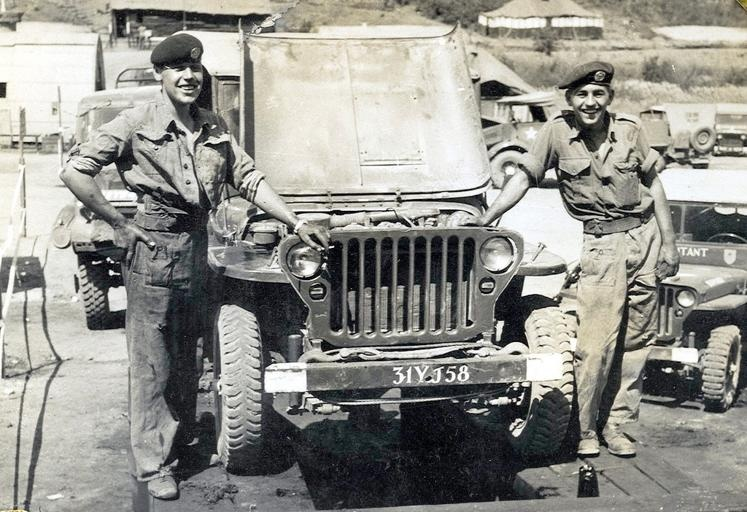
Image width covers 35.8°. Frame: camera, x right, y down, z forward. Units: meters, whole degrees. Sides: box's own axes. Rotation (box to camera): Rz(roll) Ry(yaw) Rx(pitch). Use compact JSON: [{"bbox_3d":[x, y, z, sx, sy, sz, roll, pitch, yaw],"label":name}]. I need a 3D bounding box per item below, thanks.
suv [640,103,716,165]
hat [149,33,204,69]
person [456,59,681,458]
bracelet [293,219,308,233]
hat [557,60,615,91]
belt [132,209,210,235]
[{"bbox_3d":[6.117,-2.398,23.009,1.755,1.136,1.179,11,15,37],"label":"suv"},{"bbox_3d":[-1.595,-1.662,9.378,0.328,0.171,0.305,3,23,39],"label":"hat"},{"bbox_3d":[2.013,0.048,10.029,1.131,3.414,0.392,-2,7,-12],"label":"person"},{"bbox_3d":[-0.602,-0.230,9.301,0.096,0.048,0.109,-20,-8,-29],"label":"bracelet"},{"bbox_3d":[1.761,-1.520,9.720,0.273,0.118,0.314,-12,12,-34],"label":"hat"},{"bbox_3d":[-1.675,-0.285,9.498,0.581,0.192,0.136,-2,7,-13],"label":"belt"}]
